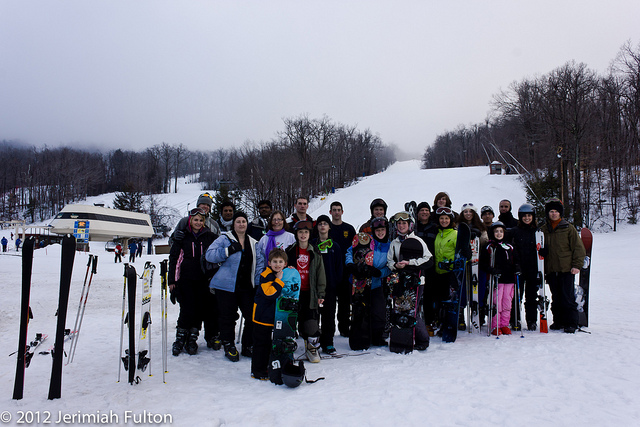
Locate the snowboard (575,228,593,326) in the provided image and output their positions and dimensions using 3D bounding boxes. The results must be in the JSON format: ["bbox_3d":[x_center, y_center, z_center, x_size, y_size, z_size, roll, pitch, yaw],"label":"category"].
[{"bbox_3d":[6.633,1.628,13.362,0.241,2.429,0.320,3,-1,40],"label":"snowboard"}]

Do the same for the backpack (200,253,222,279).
[{"bbox_3d":[-2.463,1.141,11.758,0.325,0.547,0.524,2,-4,-38],"label":"backpack"}]

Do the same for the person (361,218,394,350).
[{"bbox_3d":[1.321,1.634,12.280,0.711,2.953,0.494,5,9,26],"label":"person"}]

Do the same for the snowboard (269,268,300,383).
[{"bbox_3d":[-0.698,2.255,10.980,0.545,2.152,0.357,10,-9,-22],"label":"snowboard"}]

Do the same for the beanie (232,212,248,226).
[{"bbox_3d":[-1.791,0.116,11.919,0.284,0.297,0.224,-2,33,-10],"label":"beanie"}]

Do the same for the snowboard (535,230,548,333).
[{"bbox_3d":[5.407,1.637,12.899,0.270,2.421,0.272,0,-3,-1],"label":"snowboard"}]

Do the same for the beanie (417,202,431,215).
[{"bbox_3d":[2.633,-0.139,13.438,0.320,0.289,0.339,-1,-3,8],"label":"beanie"}]

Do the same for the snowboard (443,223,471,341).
[{"bbox_3d":[3.238,1.592,12.536,0.671,2.738,0.294,-1,-3,15],"label":"snowboard"}]

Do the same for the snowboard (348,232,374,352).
[{"bbox_3d":[1.032,1.817,12.429,0.614,2.553,0.436,3,-5,16],"label":"snowboard"}]

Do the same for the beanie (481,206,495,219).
[{"bbox_3d":[4.347,-0.081,13.835,0.213,0.230,0.289,7,16,0],"label":"beanie"}]

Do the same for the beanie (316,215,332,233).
[{"bbox_3d":[0.087,0.251,12.405,0.344,0.271,0.453,3,7,4],"label":"beanie"}]
